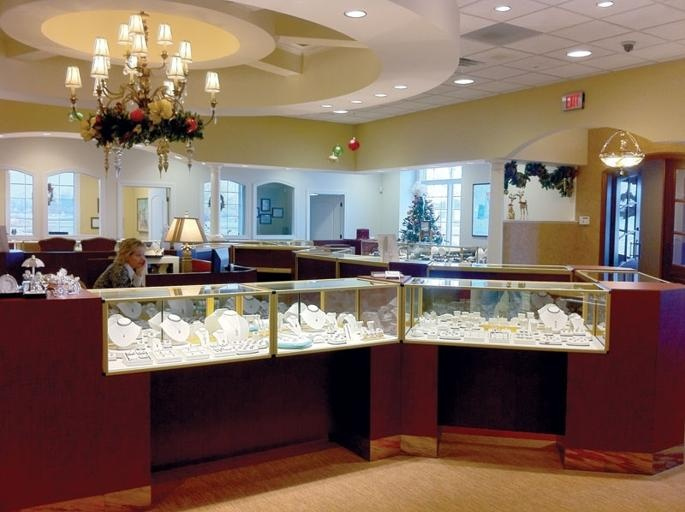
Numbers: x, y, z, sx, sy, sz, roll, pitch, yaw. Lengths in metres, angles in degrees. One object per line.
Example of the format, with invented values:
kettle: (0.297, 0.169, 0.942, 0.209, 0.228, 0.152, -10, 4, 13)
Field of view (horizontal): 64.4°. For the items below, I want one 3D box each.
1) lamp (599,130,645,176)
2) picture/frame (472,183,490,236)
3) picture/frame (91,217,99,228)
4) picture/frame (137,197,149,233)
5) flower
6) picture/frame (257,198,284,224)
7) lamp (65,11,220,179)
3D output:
lamp: (3.118, -1.179, 6.056, 0.362, 0.380, 0.358, 15, 19, 39)
picture/frame: (3.301, -1.065, 12.920, 0.715, 1.264, 0.031, 1, 1, -40)
picture/frame: (-5.938, -0.818, 13.019, 0.275, 0.273, 0.021, 0, 3, -30)
picture/frame: (-5.116, -1.063, 13.960, 0.039, 1.026, 0.912, 4, -3, -41)
flower: (-2.052, -1.327, 5.559, 1.170, 0.466, 0.535, 2, 14, -1)
picture/frame: (-1.874, -1.158, 14.091, 0.712, 0.676, 0.192, -6, 16, -29)
lamp: (-2.090, -1.802, 5.817, 1.348, 1.518, 1.414, -3, 4, 23)
